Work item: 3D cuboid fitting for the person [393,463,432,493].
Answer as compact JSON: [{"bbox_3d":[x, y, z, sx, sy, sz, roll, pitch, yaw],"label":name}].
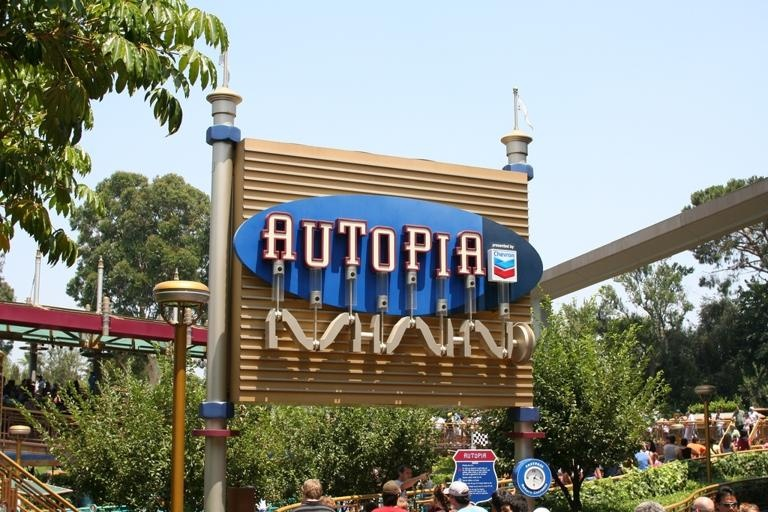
[{"bbox_3d":[0.777,6.589,45.019,0.854,0.651,1.202,-1,-2,13],"label":"person"}]
